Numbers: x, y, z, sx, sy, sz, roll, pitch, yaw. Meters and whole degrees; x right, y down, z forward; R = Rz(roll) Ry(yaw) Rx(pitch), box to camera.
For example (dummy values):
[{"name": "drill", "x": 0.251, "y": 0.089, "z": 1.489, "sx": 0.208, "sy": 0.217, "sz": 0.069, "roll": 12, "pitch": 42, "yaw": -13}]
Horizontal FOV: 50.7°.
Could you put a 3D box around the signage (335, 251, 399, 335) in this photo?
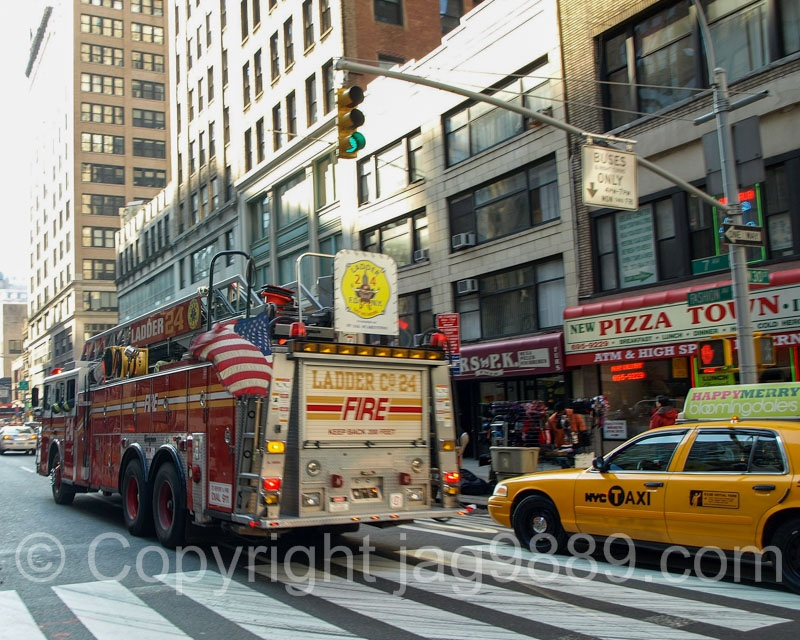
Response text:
[{"name": "signage", "x": -0.534, "y": -0.356, "z": 12.736, "sx": 1.315, "sy": 1.208, "sz": 0.069, "roll": 17, "pitch": -38, "yaw": -33}]

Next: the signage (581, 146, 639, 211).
[{"name": "signage", "x": 3.628, "y": -2.473, "z": 14.663, "sx": 1.142, "sy": 1.113, "sz": 0.324, "roll": 0, "pitch": -4, "yaw": -15}]

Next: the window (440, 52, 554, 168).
[{"name": "window", "x": 2.957, "y": -6.066, "z": 25.894, "sx": 0.204, "sy": 1.955, "sz": 4.818, "roll": 8, "pitch": -15, "yaw": -37}]

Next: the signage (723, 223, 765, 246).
[{"name": "signage", "x": 5.859, "y": -1.439, "z": 14.474, "sx": 0.863, "sy": 0.388, "sz": 0.271, "roll": 2, "pitch": -5, "yaw": -33}]

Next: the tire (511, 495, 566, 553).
[{"name": "tire", "x": 1.901, "y": 2.870, "z": 11.847, "sx": 0.993, "sy": 0.817, "sz": 0.360, "roll": -4, "pitch": -18, "yaw": -27}]

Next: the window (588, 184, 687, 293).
[{"name": "window", "x": 6.023, "y": -1.831, "z": 21.424, "sx": 0.266, "sy": 2.271, "sz": 2.947, "roll": 1, "pitch": -7, "yaw": -31}]

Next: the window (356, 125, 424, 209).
[{"name": "window", "x": -0.241, "y": -5.286, "z": 29.345, "sx": 0.730, "sy": 2.089, "sz": 4.910, "roll": 13, "pitch": -21, "yaw": -34}]

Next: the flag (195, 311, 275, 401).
[{"name": "flag", "x": -2.071, "y": 0.464, "z": 10.707, "sx": 0.763, "sy": 1.043, "sz": 0.828, "roll": 1, "pitch": -5, "yaw": -26}]

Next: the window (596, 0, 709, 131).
[{"name": "window", "x": 6.233, "y": -6.415, "z": 21.236, "sx": 0.630, "sy": 2.621, "sz": 3.038, "roll": 1, "pitch": -5, "yaw": -27}]
